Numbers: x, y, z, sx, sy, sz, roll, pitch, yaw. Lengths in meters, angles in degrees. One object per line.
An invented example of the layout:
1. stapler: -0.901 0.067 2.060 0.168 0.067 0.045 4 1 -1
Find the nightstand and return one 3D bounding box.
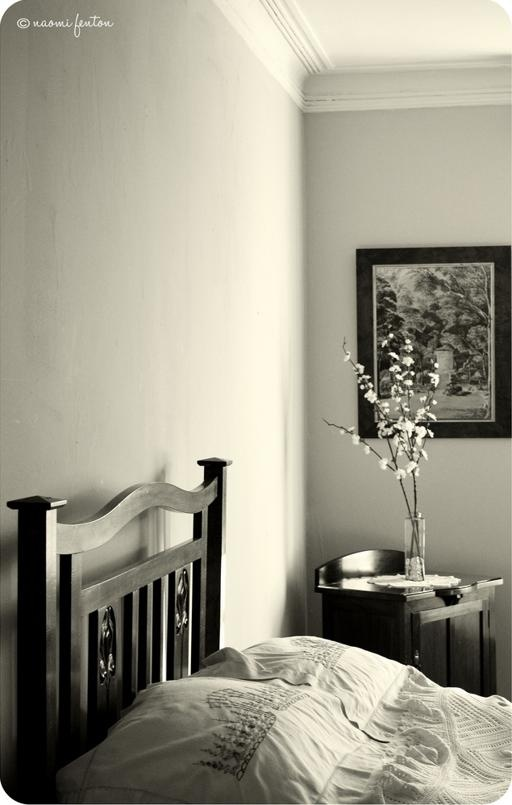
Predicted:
1. nightstand: 0.571 0.688 2.903 0.454 0.783 0.576 -2 -2 35
